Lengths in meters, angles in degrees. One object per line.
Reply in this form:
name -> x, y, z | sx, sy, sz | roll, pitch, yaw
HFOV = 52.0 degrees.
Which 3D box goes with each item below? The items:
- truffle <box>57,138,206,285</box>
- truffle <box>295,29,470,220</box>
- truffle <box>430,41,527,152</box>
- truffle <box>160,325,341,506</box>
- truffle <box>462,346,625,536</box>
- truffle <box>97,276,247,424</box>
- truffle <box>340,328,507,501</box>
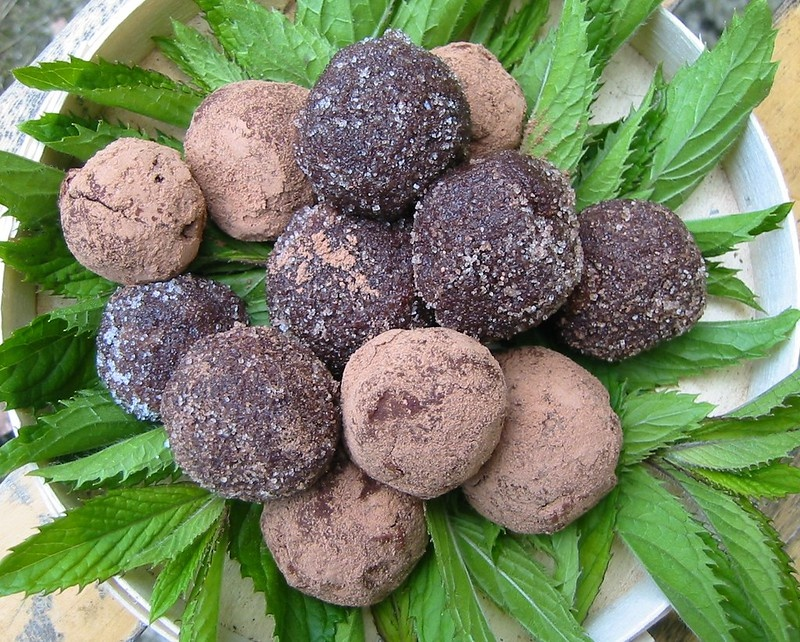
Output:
truffle -> -0.392, -0.157, 1.268 | 0.202, 0.158, 0.212 | 5, 76, 3
truffle -> -0.028, -0.267, 1.145 | 0.219, 0.114, 0.237 | 43, 83, 6
truffle -> 0.116, -0.313, 1.272 | 0.154, 0.090, 0.166 | 6, 85, -26
truffle -> -0.222, 0.122, 1.154 | 0.242, 0.148, 0.267 | 1, 54, -18
truffle -> 0.195, 0.163, 1.216 | 0.283, 0.150, 0.279 | 5, 69, -13
truffle -> -0.357, 0.036, 1.165 | 0.198, 0.068, 0.217 | 2, 92, -1
truffle -> 0.026, 0.117, 1.124 | 0.228, 0.130, 0.224 | 21, 81, 3
